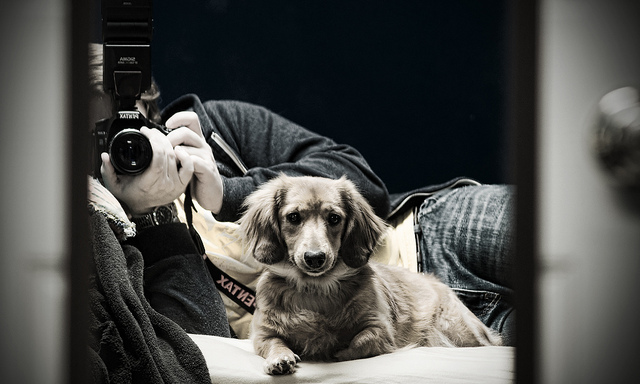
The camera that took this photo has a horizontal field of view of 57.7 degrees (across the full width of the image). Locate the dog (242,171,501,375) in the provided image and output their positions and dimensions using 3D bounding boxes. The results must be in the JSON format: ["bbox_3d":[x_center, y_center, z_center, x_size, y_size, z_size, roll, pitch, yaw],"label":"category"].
[{"bbox_3d":[0.165,0.368,2.005,0.561,0.429,0.805,-13,-36,23],"label":"dog"}]

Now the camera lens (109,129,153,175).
[{"bbox_3d":[-0.574,-0.115,1.760,0.108,0.132,0.127,-1,-1,38],"label":"camera lens"}]

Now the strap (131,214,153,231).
[{"bbox_3d":[-0.575,0.098,1.881,0.052,0.038,0.044,-15,-1,11],"label":"strap"}]
